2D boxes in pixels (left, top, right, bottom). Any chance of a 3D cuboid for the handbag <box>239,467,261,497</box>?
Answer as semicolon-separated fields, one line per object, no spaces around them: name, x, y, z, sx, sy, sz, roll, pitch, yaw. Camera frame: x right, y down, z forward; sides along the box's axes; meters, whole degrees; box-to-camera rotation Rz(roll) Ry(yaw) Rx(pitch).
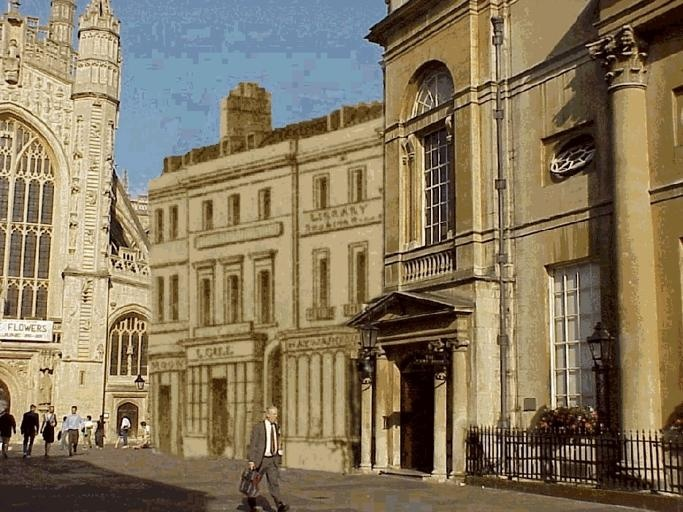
handbag;-2.155;5.378;26.745;0.505;0.688;0.633;1;-15;-7

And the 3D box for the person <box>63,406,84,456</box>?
person;-11.187;7.337;47.144;0.897;2.119;0.746;4;-10;-23
